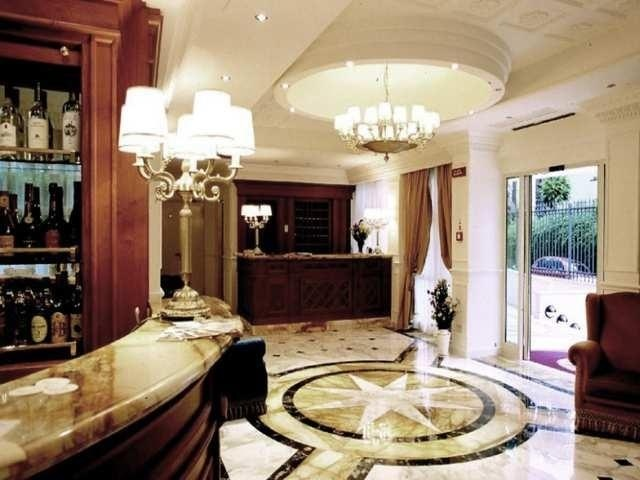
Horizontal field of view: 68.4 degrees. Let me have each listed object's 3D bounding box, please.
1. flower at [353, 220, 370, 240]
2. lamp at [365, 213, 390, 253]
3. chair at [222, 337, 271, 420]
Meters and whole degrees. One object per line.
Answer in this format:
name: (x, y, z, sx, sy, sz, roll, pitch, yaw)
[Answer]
flower: (0.925, -0.227, 10.296, 0.402, 0.456, 0.397, -3, 4, -36)
lamp: (1.194, -0.191, 9.805, 0.471, 0.980, 1.338, 3, 8, 8)
chair: (-0.741, 1.432, 4.946, 0.465, 0.851, 0.294, -1, 8, -22)
